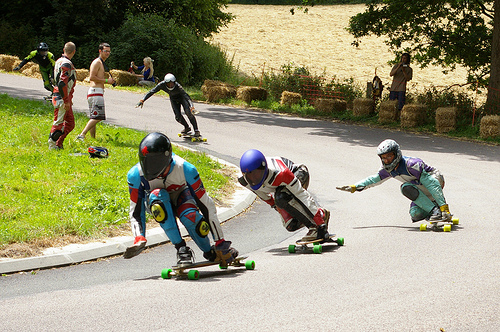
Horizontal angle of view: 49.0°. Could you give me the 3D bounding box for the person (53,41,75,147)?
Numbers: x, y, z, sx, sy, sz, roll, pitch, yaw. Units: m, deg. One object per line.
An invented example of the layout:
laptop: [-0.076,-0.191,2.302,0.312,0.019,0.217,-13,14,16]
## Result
person: [-4.663,-1.831,13.741,0.575,2.413,0.757,-3,15,-11]

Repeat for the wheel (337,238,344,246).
wheel: [1.660,1.383,10.044,0.135,0.137,0.112,0,-6,6]

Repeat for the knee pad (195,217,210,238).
knee pad: [-0.791,1.005,9.000,0.062,0.423,0.294,8,12,40]

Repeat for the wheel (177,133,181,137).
wheel: [-2.305,-1.014,17.998,0.096,0.095,0.096,0,17,0]

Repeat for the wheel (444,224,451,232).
wheel: [3.801,1.177,10.526,0.106,0.119,0.156,0,-2,8]

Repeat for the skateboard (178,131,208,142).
skateboard: [-1.801,-0.960,17.784,1.072,0.459,0.372,6,17,28]

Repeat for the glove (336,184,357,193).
glove: [1.976,0.442,11.052,0.284,0.124,0.189,8,6,-6]

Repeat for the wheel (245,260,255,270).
wheel: [0.021,1.636,9.127,0.144,0.139,0.130,5,-36,16]

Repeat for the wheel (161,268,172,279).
wheel: [-1.330,1.710,8.819,0.164,0.165,0.135,0,-1,-1]

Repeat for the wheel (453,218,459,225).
wheel: [4.086,1.076,10.873,0.119,0.112,0.100,0,13,-1]

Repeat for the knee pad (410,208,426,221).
knee pad: [3.405,0.962,11.092,0.180,0.257,0.257,-8,-13,33]

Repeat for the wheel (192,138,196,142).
wheel: [-1.785,-0.838,17.494,0.055,0.092,0.087,-1,1,27]

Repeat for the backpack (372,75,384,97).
backpack: [5.827,-3.720,24.728,0.305,0.704,0.939,5,36,-10]

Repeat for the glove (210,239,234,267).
glove: [-0.351,1.424,9.101,0.591,0.451,0.200,-5,14,-18]

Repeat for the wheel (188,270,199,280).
wheel: [-0.899,1.718,8.750,0.152,0.148,0.142,1,0,0]

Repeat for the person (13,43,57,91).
person: [-7.511,-3.388,19.558,1.324,2.123,1.076,-13,37,-16]

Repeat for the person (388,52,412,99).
person: [6.144,-3.656,22.339,0.650,1.854,1.094,-5,15,-16]

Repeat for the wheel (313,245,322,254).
wheel: [1.223,1.485,9.827,0.142,0.139,0.133,6,-9,1]

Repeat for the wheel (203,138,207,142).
wheel: [-1.439,-0.862,17.659,0.103,0.092,0.249,1,15,2]

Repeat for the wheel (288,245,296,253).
wheel: [0.757,1.478,9.841,0.139,0.113,0.128,-1,-2,0]

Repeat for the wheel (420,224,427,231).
wheel: [3.398,1.183,10.708,0.098,0.075,0.143,2,7,10]

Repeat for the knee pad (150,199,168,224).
knee pad: [-1.434,0.719,8.838,0.235,0.364,0.135,-12,11,31]

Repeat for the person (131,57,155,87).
person: [-5.617,-4.940,28.795,1.156,1.587,1.015,21,23,31]
